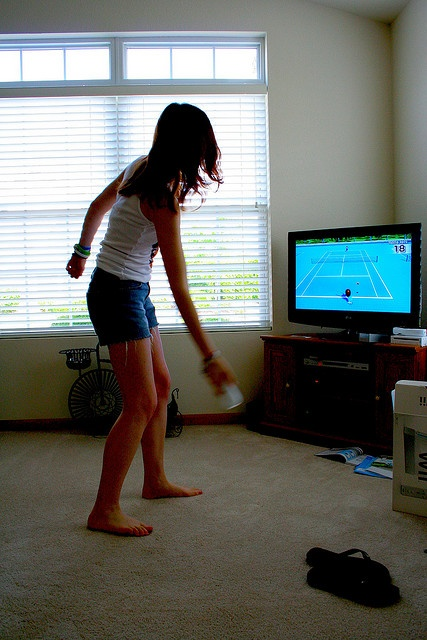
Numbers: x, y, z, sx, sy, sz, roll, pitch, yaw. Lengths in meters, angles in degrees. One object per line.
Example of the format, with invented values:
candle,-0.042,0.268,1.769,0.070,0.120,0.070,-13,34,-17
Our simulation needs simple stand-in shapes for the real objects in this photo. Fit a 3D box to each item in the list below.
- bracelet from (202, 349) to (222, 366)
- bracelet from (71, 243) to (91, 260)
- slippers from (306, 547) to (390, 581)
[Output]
bracelet,-0.005,0.090,1.202,0.037,0.010,0.030,-33,18,26
bracelet,-0.464,-0.240,1.833,0.051,0.046,0.045,10,-10,39
slippers,0.320,0.587,1.299,0.207,0.075,0.079,-7,-6,35
